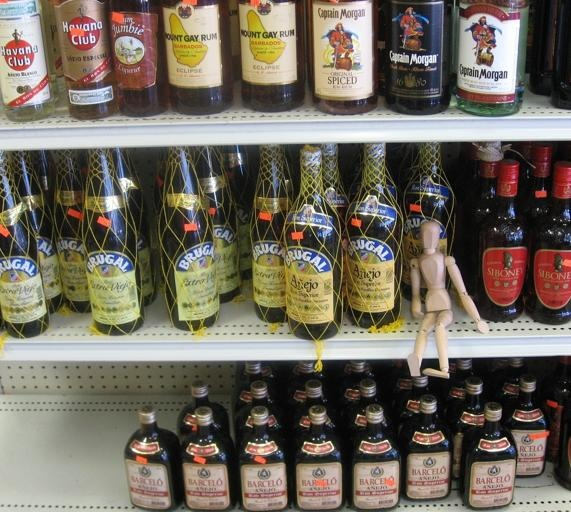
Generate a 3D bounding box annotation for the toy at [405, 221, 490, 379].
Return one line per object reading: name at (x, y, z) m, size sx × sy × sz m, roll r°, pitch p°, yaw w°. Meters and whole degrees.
toy at (0.393, 0.111, 1.355) m, size 0.190 × 0.368 × 0.259 m, roll 3°, pitch 28°, yaw 12°
